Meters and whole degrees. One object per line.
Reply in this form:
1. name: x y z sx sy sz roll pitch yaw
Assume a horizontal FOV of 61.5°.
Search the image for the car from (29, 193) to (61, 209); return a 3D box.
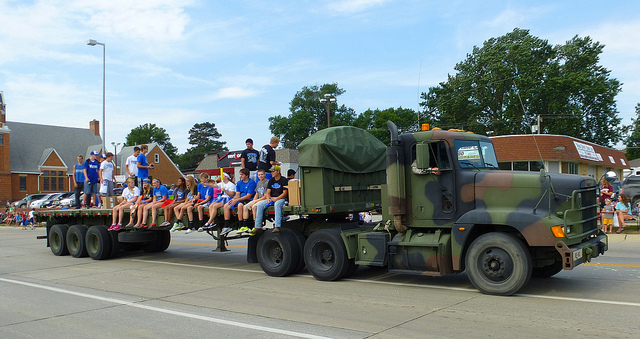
1. car: -27.729 3.137 53.675 4.249 1.306 1.860 0 -1 -16
